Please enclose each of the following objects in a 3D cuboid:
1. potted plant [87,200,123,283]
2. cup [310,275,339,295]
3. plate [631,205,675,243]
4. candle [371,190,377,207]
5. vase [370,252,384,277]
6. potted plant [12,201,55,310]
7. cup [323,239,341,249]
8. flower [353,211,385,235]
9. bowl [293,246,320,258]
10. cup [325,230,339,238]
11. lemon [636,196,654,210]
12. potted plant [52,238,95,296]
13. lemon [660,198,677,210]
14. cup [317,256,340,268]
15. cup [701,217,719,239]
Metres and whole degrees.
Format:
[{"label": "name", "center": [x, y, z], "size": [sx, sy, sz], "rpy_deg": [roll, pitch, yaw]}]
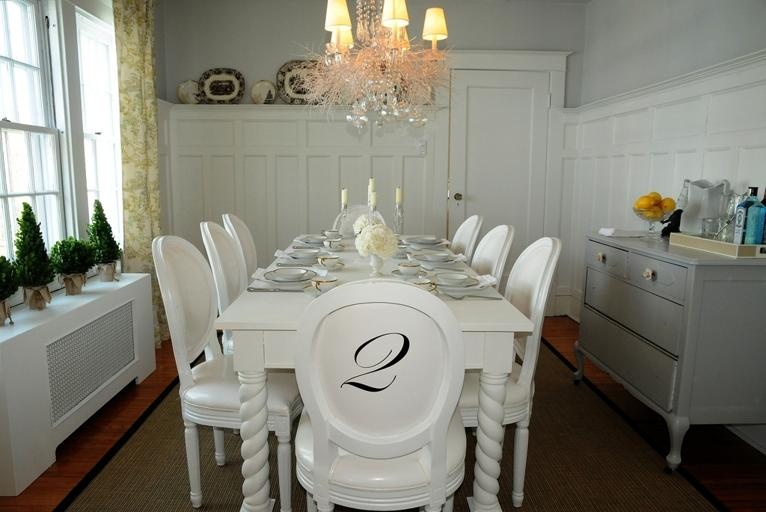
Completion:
[{"label": "potted plant", "center": [-2.087, -0.116, 3.779], "size": [0.215, 0.594, 0.266], "rpy_deg": [8, 16, 37]}, {"label": "cup", "center": [-0.294, 0.143, 2.675], "size": [0.098, 0.062, 0.115], "rpy_deg": [9, 18, 40]}, {"label": "plate", "center": [2.023, -0.221, 3.710], "size": [0.283, 0.222, 0.279], "rpy_deg": [-4, 5, -30]}, {"label": "candle", "center": [-0.063, -0.375, 3.386], "size": [0.025, 0.103, 0.048], "rpy_deg": [-6, 13, -18]}, {"label": "vase", "center": [-0.031, 0.049, 3.033], "size": [0.088, 0.145, 0.087], "rpy_deg": [-16, 22, -43]}, {"label": "potted plant", "center": [-2.196, 0.005, 3.145], "size": [0.195, 0.672, 0.184], "rpy_deg": [-12, 16, -39]}, {"label": "cup", "center": [-0.374, -0.084, 3.698], "size": [0.098, 0.060, 0.096], "rpy_deg": [-5, 3, 0]}, {"label": "flower", "center": [-0.097, -0.236, 3.654], "size": [0.207, 0.099, 0.263], "rpy_deg": [-19, 10, 18]}, {"label": "bowl", "center": [-0.543, -0.024, 3.530], "size": [0.135, 0.036, 0.141], "rpy_deg": [-1, 9, 0]}, {"label": "cup", "center": [-0.442, -0.187, 4.429], "size": [0.086, 0.057, 0.094], "rpy_deg": [-2, -1, 0]}, {"label": "lemon", "center": [1.864, -0.369, 3.571], "size": [0.077, 0.087, 0.107], "rpy_deg": [-12, -4, 2]}, {"label": "potted plant", "center": [-2.165, 0.073, 3.507], "size": [0.287, 0.364, 0.293], "rpy_deg": [-9, -4, -15]}, {"label": "lemon", "center": [2.016, -0.361, 3.537], "size": [0.078, 0.081, 0.094], "rpy_deg": [42, 12, 27]}, {"label": "cup", "center": [-0.327, 0.034, 3.189], "size": [0.097, 0.050, 0.083], "rpy_deg": [-7, 10, -16]}, {"label": "cup", "center": [2.188, -0.186, 3.341], "size": [0.140, 0.145, 0.123], "rpy_deg": [-11, 14, -40]}]
